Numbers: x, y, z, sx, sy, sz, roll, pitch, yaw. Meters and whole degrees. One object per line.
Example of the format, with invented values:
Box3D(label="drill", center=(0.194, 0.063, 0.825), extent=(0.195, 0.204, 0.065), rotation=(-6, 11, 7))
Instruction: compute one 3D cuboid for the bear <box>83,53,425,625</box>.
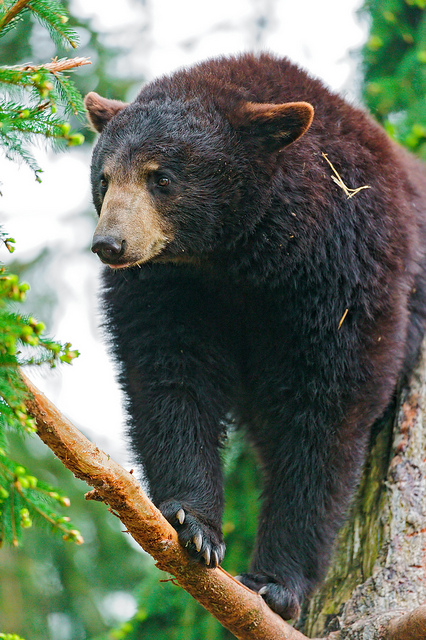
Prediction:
Box3D(label="bear", center=(0.149, -0.029, 3.885), extent=(1.480, 2.503, 0.879), rotation=(10, -5, -9))
